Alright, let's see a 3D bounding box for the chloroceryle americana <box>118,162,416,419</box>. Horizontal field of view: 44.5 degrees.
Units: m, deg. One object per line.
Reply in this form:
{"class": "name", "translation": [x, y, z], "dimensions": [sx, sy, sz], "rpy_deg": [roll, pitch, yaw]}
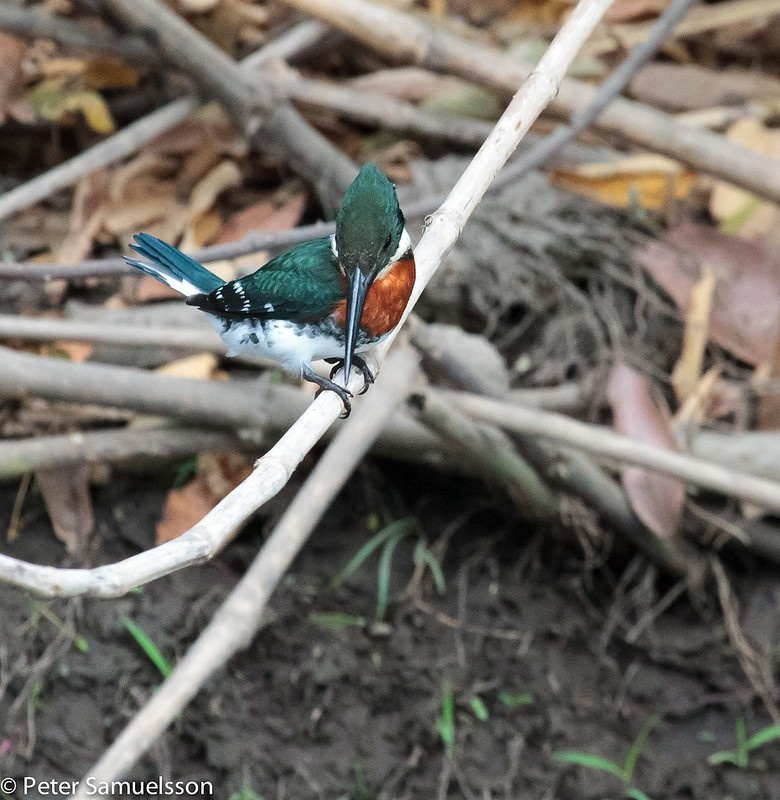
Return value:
{"class": "chloroceryle americana", "translation": [-0.274, -0.342, 2.506], "dimensions": [0.991, 0.548, 0.452], "rpy_deg": [20, 26, 30]}
